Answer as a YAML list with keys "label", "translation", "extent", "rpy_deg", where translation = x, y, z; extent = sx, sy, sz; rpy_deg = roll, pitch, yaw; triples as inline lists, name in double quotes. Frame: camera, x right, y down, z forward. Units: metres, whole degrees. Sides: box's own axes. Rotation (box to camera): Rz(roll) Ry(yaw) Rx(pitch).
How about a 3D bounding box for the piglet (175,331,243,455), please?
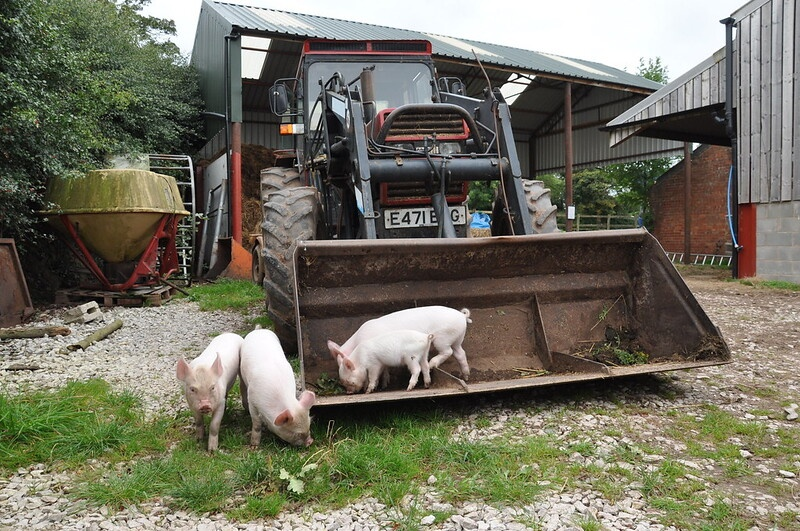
- label: "piglet"
  translation: [-1.593, 1.069, 4.859]
  extent: [0.371, 0.812, 0.616]
  rpy_deg: [-1, 8, 6]

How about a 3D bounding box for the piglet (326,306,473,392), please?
- label: "piglet"
  translation: [0.032, 0.775, 5.204]
  extent: [1.325, 0.748, 0.380]
  rpy_deg: [-11, 2, -13]

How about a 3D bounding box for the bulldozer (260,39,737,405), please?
- label: "bulldozer"
  translation: [0.475, -0.946, 7.717]
  extent: [5.636, 4.440, 4.068]
  rpy_deg: [-1, 5, -11]

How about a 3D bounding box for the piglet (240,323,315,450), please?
- label: "piglet"
  translation: [-1.119, 1.153, 4.919]
  extent: [0.390, 0.747, 1.376]
  rpy_deg: [-4, 28, -29]
